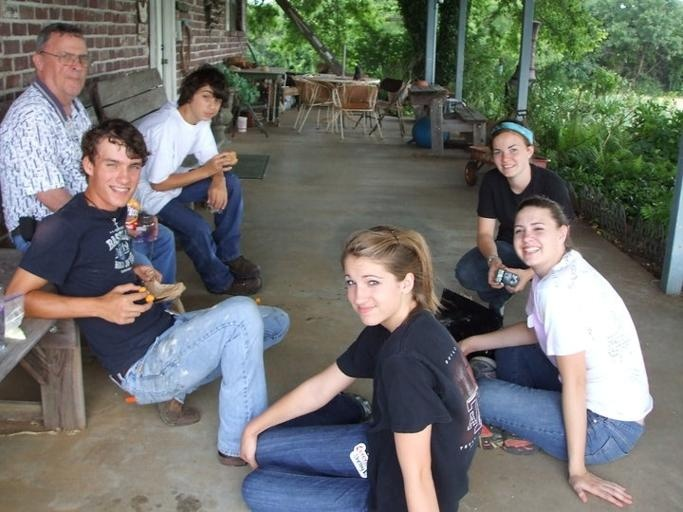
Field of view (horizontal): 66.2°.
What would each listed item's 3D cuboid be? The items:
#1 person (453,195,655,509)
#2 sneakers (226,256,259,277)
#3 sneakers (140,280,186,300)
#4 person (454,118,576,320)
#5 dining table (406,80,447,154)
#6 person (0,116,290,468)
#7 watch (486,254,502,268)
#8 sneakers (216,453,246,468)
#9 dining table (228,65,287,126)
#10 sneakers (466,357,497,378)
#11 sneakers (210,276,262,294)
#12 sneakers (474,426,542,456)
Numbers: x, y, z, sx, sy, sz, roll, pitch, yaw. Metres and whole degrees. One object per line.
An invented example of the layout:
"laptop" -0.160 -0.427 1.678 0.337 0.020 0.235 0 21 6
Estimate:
"person" 1.058 0.387 2.449 0.840 1.194 0.589 16 22 33
"sneakers" -0.820 0.083 4.204 0.298 0.117 0.111 2 25 12
"sneakers" -0.883 0.165 2.550 0.136 0.040 0.122 -17 -3 3
"person" 1.161 -0.223 3.564 0.877 1.321 0.687 -8 21 0
"dining table" 1.658 -2.770 10.167 0.740 1.200 3.623 6 18 7
"person" -0.861 0.168 2.407 1.029 1.497 0.772 2 19 -5
"watch" 0.975 0.036 3.318 0.067 0.044 0.087 -2 8 6
"sneakers" -0.509 0.948 2.418 0.129 0.053 0.059 -1 15 -2
"dining table" -1.890 -3.565 11.022 1.274 1.128 2.304 5 26 3
"sneakers" 0.778 0.613 2.884 0.110 0.110 0.040 21 39 21
"sneakers" -0.821 0.243 4.135 0.393 0.150 0.130 -5 42 -2
"sneakers" 0.817 0.921 2.590 0.290 0.085 0.190 10 10 32
